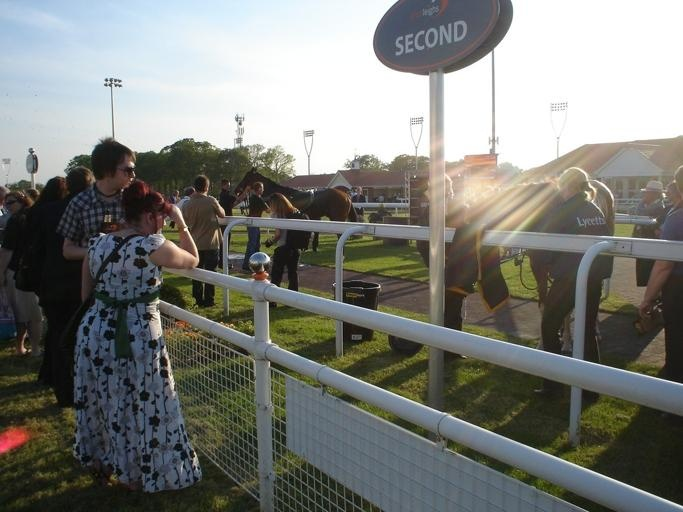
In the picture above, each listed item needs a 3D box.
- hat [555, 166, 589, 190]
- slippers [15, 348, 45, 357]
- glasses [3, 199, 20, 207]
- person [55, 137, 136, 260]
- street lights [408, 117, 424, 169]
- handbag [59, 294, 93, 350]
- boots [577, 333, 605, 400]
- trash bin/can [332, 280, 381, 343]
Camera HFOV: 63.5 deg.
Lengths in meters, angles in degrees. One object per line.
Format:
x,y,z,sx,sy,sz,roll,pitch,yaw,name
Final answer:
2.097,-0.664,4.968,0.211,0.250,0.239,3,14,9,hat
-3.456,1.075,6.127,0.291,0.153,0.110,2,2,-10,slippers
-3.512,-0.577,5.896,0.111,0.064,0.128,5,-7,17,glasses
-1.680,-0.334,3.828,0.374,0.924,0.417,28,29,17,person
4.964,-7.167,36.537,0.856,4.654,0.790,1,-23,5,street lights
-1.741,0.440,3.658,0.245,0.421,0.120,-5,13,-14,handbag
2.177,0.866,4.837,0.150,0.212,0.734,17,45,16,boots
0.209,0.666,6.418,0.464,0.627,0.519,0,-7,-10,trash bin/can
